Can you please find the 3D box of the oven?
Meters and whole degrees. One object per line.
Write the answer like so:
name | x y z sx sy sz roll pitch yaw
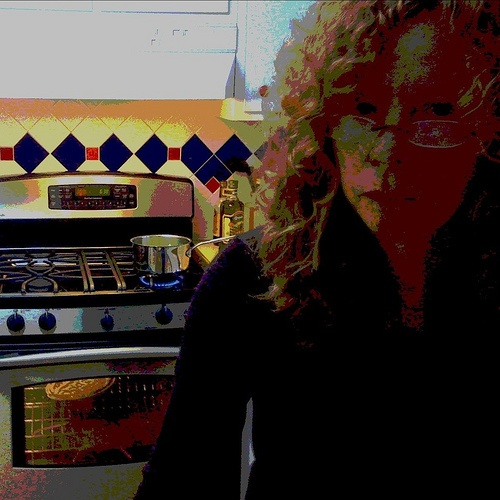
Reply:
oven | -0.417 0.452 1.582 0.424 0.394 0.288 2 12 -7

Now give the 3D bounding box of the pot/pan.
pot/pan | -0.193 0.006 1.935 0.366 0.109 0.148 2 5 -10
